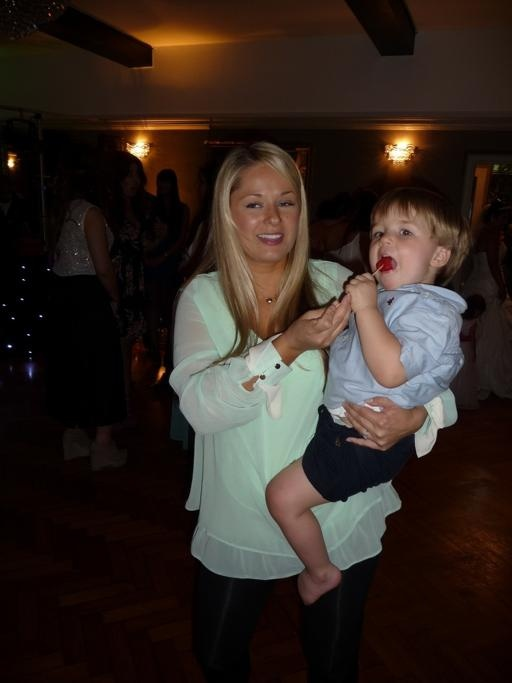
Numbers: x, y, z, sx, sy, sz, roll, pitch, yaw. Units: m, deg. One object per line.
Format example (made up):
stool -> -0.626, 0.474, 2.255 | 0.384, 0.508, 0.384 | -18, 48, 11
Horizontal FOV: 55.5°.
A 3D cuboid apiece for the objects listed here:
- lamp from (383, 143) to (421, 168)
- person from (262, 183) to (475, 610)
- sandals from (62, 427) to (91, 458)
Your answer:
lamp -> 1.918, -2.508, 6.501 | 0.289, 0.335, 0.080 | 14, 16, 20
person -> 0.284, 0.101, 1.124 | 0.325, 0.893, 0.537 | 7, 13, 27
sandals -> -1.308, 0.758, 3.525 | 0.056, 0.239, 0.245 | 0, 0, 42
